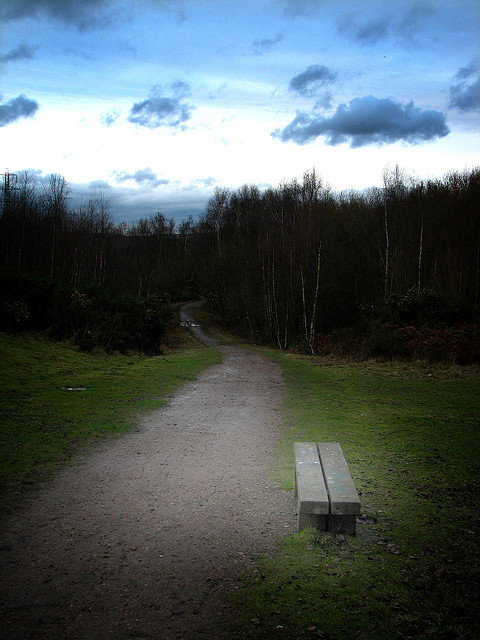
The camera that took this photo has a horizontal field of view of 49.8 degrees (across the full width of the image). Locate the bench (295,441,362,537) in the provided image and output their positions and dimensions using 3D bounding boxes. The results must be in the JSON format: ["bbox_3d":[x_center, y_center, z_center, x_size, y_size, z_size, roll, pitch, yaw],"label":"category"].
[{"bbox_3d":[0.790,1.633,5.010,0.460,0.480,1.393,1,8,2],"label":"bench"}]
